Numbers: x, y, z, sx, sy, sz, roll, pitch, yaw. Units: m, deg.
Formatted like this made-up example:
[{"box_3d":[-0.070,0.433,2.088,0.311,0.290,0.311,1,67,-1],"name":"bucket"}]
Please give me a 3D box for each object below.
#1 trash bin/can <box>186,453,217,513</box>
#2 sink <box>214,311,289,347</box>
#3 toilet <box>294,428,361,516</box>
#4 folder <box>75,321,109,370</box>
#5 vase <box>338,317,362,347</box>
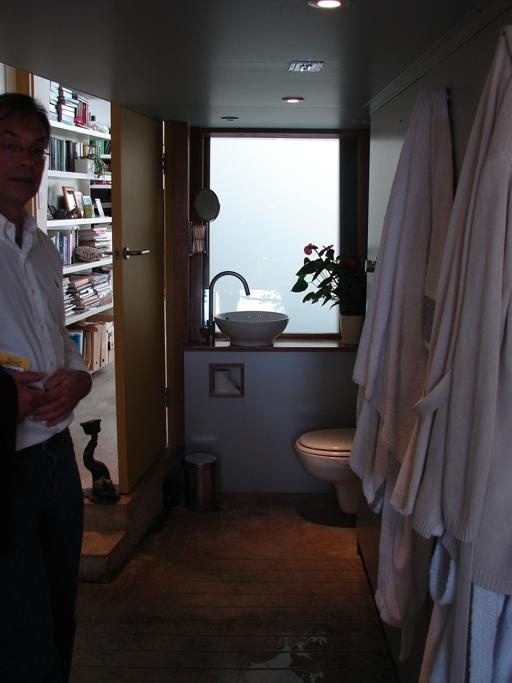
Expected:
[{"box_3d":[-0.291,0.762,2.871,0.161,0.289,0.120,0,4,-10],"name":"trash bin/can"},{"box_3d":[-0.026,-0.070,3.083,0.394,0.179,0.435,1,6,0],"name":"sink"},{"box_3d":[0.346,0.698,2.711,0.298,0.452,0.357,1,5,9],"name":"toilet"},{"box_3d":[-1.285,0.013,4.265,0.164,0.357,0.322,1,12,6],"name":"folder"},{"box_3d":[0.529,-0.050,3.088,0.121,0.178,0.140,3,0,-21],"name":"vase"}]
